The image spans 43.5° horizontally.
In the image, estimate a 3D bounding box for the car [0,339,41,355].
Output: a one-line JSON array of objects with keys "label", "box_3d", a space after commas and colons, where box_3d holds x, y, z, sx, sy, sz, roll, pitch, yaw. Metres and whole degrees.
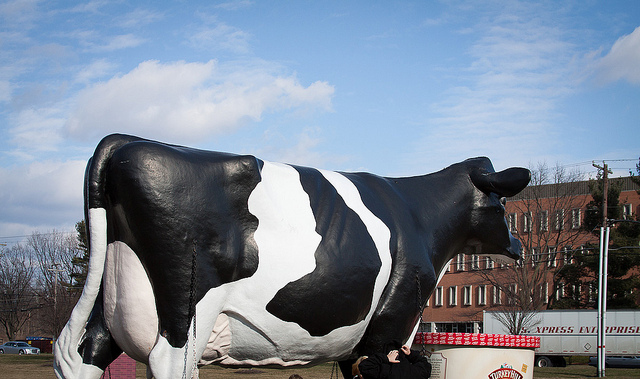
[{"label": "car", "box_3d": [-28.571, 15.082, 76.000, 3.389, 0.965, 2.064, 3, -5, 26]}]
